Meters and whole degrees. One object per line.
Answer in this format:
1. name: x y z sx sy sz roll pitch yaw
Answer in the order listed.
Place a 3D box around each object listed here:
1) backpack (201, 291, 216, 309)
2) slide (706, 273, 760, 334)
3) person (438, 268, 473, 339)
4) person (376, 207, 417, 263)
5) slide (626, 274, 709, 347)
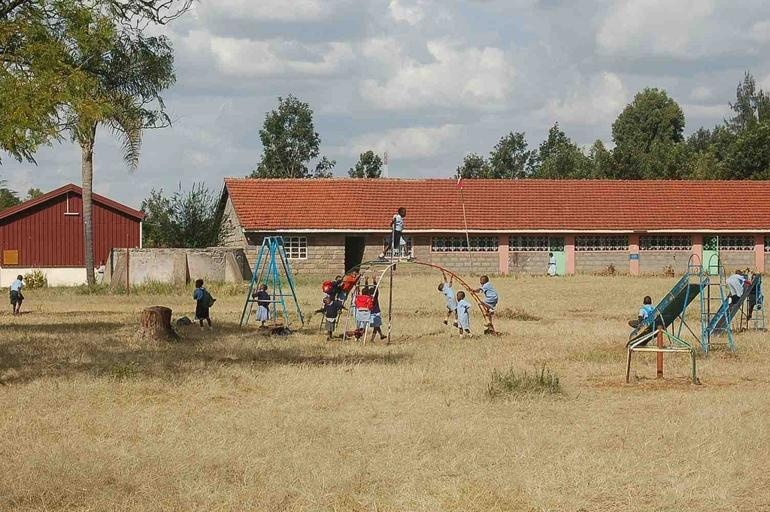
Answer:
1. backpack: -5.794 1.338 47.605 0.566 0.667 0.417 1 3 -15
2. slide: 11.332 1.337 47.454 1.055 2.553 5.165 1 8 27
3. person: 2.442 1.638 47.455 1.091 2.521 0.997 4 -2 -11
4. person: 0.405 -0.896 52.817 1.195 1.901 0.655 2 4 -6
5. slide: 8.539 1.637 44.159 2.185 2.213 3.358 0 1 25
